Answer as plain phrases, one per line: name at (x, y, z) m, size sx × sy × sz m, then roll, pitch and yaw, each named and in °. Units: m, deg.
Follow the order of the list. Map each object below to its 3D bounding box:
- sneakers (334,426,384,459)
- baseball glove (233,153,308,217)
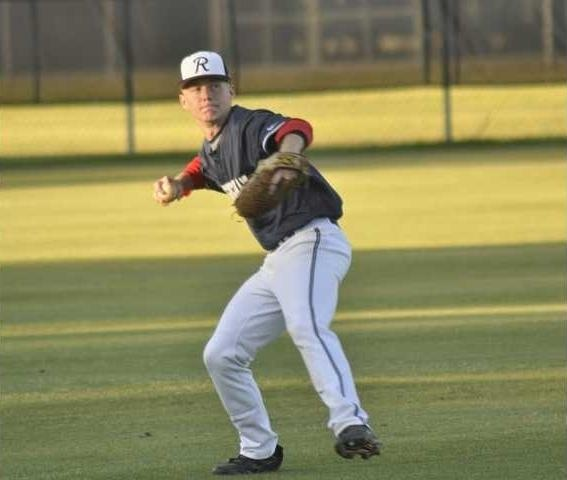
sneakers at (0.640, 1.719, 12.703) m, size 0.237 × 0.184 × 0.380 m, roll -3°, pitch -22°, yaw 1°
baseball glove at (-0.114, -0.487, 13.177) m, size 0.662 × 0.405 × 0.302 m, roll -40°, pitch -17°, yaw 8°
